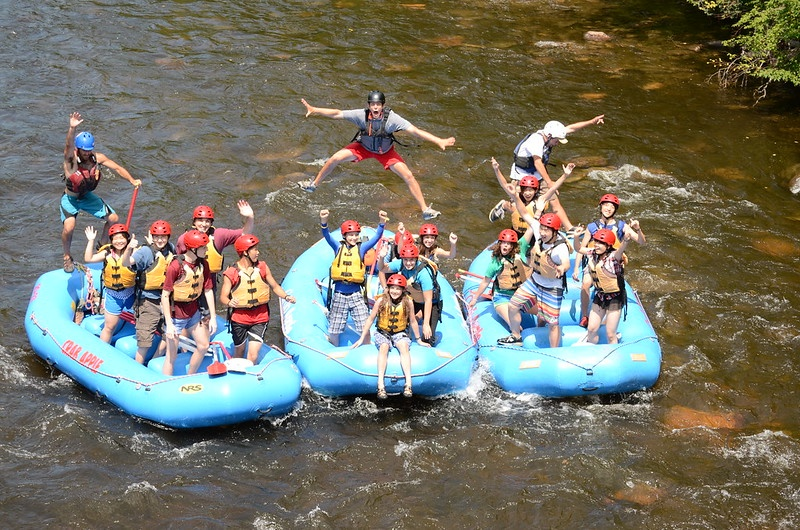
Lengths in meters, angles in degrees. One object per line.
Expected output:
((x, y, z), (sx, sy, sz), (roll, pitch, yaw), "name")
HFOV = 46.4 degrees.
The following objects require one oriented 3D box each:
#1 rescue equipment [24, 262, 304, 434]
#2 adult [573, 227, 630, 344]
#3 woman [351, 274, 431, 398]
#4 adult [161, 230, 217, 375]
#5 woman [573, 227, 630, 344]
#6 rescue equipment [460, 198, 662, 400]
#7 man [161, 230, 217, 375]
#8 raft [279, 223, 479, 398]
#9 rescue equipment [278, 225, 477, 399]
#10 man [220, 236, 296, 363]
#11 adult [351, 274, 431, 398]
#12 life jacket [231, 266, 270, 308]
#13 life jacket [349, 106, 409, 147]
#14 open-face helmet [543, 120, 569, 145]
((-4.758, 1.375, 17.429), (5.634, 1.266, 3.207), (23, 27, 32), "rescue equipment")
((3.693, 0.494, 16.752), (0.766, 2.263, 0.645), (10, 33, 14), "adult")
((-0.132, 1.161, 16.331), (1.482, 1.163, 2.276), (1, 38, -1), "woman")
((-3.659, 0.856, 16.140), (0.978, 2.870, 0.841), (1, 7, -16), "adult")
((3.693, 0.494, 16.752), (0.766, 2.263, 0.645), (10, 33, 14), "woman")
((2.995, 0.789, 17.358), (2.411, 0.914, 3.401), (-4, 40, 1), "rescue equipment")
((-3.665, 0.857, 16.125), (0.976, 2.866, 0.841), (0, 7, -18), "man")
((-0.339, 1.017, 17.733), (3.166, 1.251, 4.131), (-25, 49, 22), "raft")
((-1.040, 0.886, 17.471), (2.719, 1.076, 3.598), (-4, 44, -8), "rescue equipment")
((-2.470, 0.892, 16.246), (1.364, 2.658, 1.006), (-1, 4, -4), "man")
((-0.175, 1.196, 16.526), (1.526, 1.156, 2.092), (1, 50, -5), "adult")
((-2.595, 0.388, 16.104), (0.699, 0.673, 0.388), (-5, 7, -23), "life jacket")
((-0.449, -2.571, 17.878), (0.866, 0.766, 0.431), (-1, 32, -6), "life jacket")
((3.096, -2.623, 18.720), (0.616, 0.307, 0.429), (29, 29, 5), "open-face helmet")
